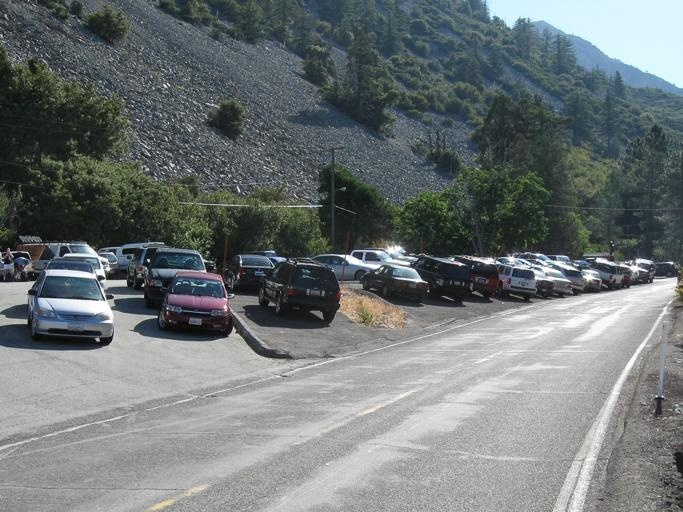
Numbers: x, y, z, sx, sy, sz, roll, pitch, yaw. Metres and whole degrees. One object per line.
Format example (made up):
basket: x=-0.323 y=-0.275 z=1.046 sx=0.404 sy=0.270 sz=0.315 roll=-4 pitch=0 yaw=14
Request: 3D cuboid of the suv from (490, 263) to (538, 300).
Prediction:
suv: x=9.700 y=1.369 z=45.762 sx=1.287 sy=1.234 sz=2.750 roll=-1 pitch=7 yaw=-13

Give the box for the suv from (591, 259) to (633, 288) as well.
suv: x=20.308 y=1.458 z=62.049 sx=1.608 sy=1.427 sz=3.175 roll=7 pitch=12 yaw=27

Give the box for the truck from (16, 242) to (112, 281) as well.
truck: x=-12.422 y=0.220 z=36.634 sx=3.170 sy=1.403 sz=1.873 roll=-2 pitch=-2 yaw=25

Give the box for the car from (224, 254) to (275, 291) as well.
car: x=-4.010 y=0.947 z=37.331 sx=1.884 sy=2.023 sz=1.761 roll=-1 pitch=2 yaw=-16

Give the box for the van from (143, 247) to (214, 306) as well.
van: x=-4.874 y=1.530 z=27.778 sx=2.358 sy=2.037 sz=4.157 roll=5 pitch=-2 yaw=-13

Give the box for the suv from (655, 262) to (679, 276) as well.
suv: x=36.832 y=1.599 z=93.520 sx=1.481 sy=1.353 sz=3.414 roll=0 pitch=7 yaw=35

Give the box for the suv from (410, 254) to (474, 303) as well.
suv: x=5.004 y=1.052 z=40.890 sx=1.504 sy=1.430 sz=2.940 roll=2 pitch=11 yaw=-27

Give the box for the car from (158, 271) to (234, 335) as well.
car: x=-4.625 y=1.502 z=26.584 sx=2.201 sy=1.967 sz=2.294 roll=7 pitch=0 yaw=-41

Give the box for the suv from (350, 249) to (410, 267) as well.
suv: x=1.902 y=0.034 z=48.167 sx=2.623 sy=1.296 sz=1.371 roll=-3 pitch=1 yaw=33

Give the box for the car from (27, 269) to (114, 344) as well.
car: x=-7.704 y=1.402 z=23.829 sx=2.048 sy=2.497 sz=2.016 roll=0 pitch=5 yaw=-16

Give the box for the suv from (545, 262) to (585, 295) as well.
suv: x=14.899 y=1.405 z=54.769 sx=1.291 sy=1.090 sz=2.958 roll=0 pitch=13 yaw=-10

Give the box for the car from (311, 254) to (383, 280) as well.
car: x=0.444 y=0.635 z=45.330 sx=3.311 sy=1.271 sz=1.527 roll=-2 pitch=4 yaw=-5

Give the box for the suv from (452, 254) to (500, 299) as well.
suv: x=7.393 y=0.966 z=43.720 sx=1.665 sy=2.546 sz=1.820 roll=-3 pitch=4 yaw=19
